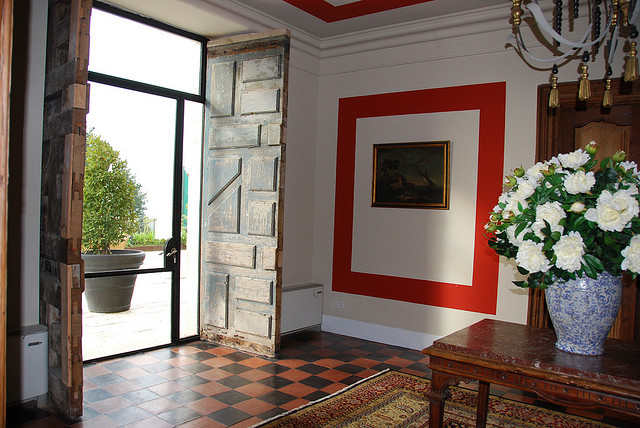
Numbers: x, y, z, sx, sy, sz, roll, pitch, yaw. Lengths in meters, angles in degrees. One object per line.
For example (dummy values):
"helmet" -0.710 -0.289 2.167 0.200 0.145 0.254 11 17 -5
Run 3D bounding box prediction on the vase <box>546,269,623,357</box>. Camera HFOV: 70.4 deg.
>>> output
"vase" 1.691 0.644 3.204 0.575 0.597 0.536 2 1 -2

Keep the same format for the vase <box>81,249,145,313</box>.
"vase" -2.555 0.820 5.507 0.788 0.661 0.785 -3 -4 -2

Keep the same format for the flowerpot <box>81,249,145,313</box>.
"flowerpot" -2.538 0.825 5.511 0.794 0.640 0.791 -5 -5 35
